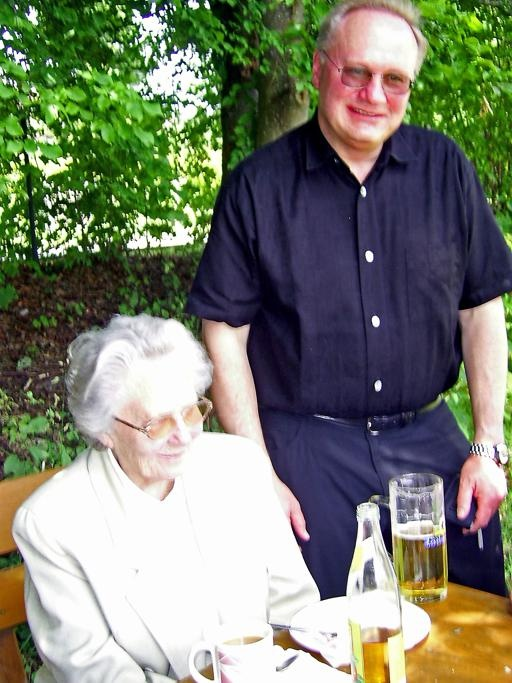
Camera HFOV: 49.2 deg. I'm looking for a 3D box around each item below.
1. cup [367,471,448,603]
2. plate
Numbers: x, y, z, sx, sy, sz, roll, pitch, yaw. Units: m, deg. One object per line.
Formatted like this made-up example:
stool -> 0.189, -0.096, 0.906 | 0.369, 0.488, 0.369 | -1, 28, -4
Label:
cup -> 0.328, 0.430, 1.236 | 0.170, 0.249, 0.108 | -6, 1, 40
plate -> 0.168, 0.464, 0.903 | 0.148, 0.031, 0.184 | -5, -1, -2
